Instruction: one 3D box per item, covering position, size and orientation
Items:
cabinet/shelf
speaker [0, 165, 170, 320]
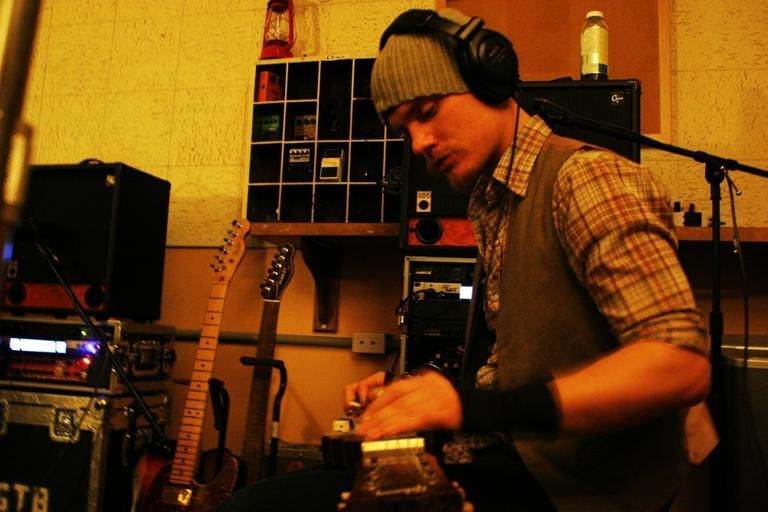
[{"bbox_3d":[-0.189,-0.557,3.512,1.038,0.914,0.318,4,-2,30],"label":"cabinet/shelf"},{"bbox_3d":[-1.364,-0.050,3.001,0.767,0.681,0.526,-1,-12,19],"label":"speaker"}]
